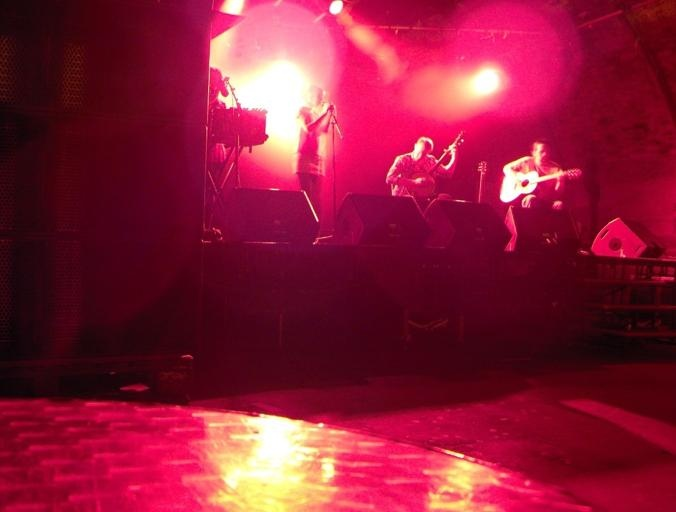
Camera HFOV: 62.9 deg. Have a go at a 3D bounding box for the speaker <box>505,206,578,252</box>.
[{"bbox_3d":[1.724,-0.243,4.737,0.542,0.405,0.420,1,-8,-18],"label":"speaker"}]

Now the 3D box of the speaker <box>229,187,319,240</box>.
[{"bbox_3d":[-0.440,-0.276,3.727,0.618,0.354,0.208,2,0,-10],"label":"speaker"}]

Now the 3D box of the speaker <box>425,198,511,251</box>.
[{"bbox_3d":[1.002,-0.218,4.364,0.499,0.368,0.432,7,-16,-19],"label":"speaker"}]

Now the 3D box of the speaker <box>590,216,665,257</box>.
[{"bbox_3d":[3.854,-0.108,7.363,0.774,0.665,0.971,-3,-4,32],"label":"speaker"}]
